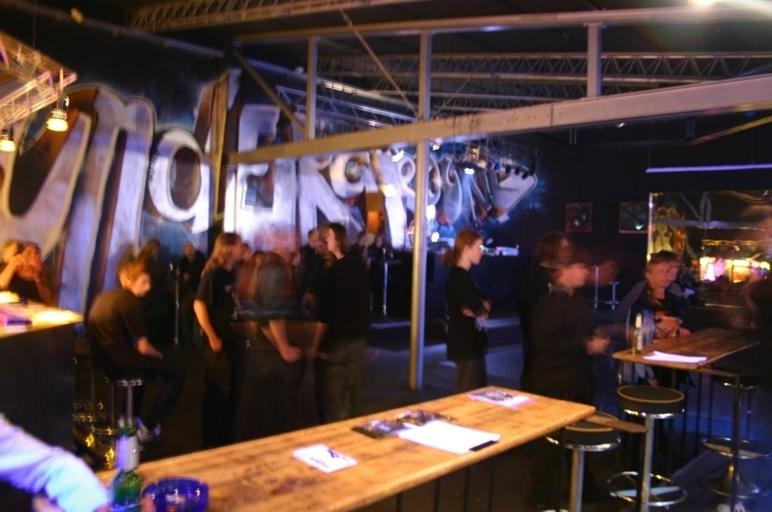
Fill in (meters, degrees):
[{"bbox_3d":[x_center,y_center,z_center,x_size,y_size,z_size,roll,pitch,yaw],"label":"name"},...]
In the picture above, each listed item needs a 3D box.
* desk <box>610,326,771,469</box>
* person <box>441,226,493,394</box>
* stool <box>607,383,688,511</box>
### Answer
[{"bbox_3d":[4.010,1.866,8.992,1.029,1.527,3.031,5,6,43],"label":"desk"},{"bbox_3d":[0.937,0.635,8.108,0.489,1.881,0.394,1,-2,13],"label":"person"},{"bbox_3d":[2.847,2.117,7.626,0.809,1.355,0.927,0,-2,23],"label":"stool"}]
